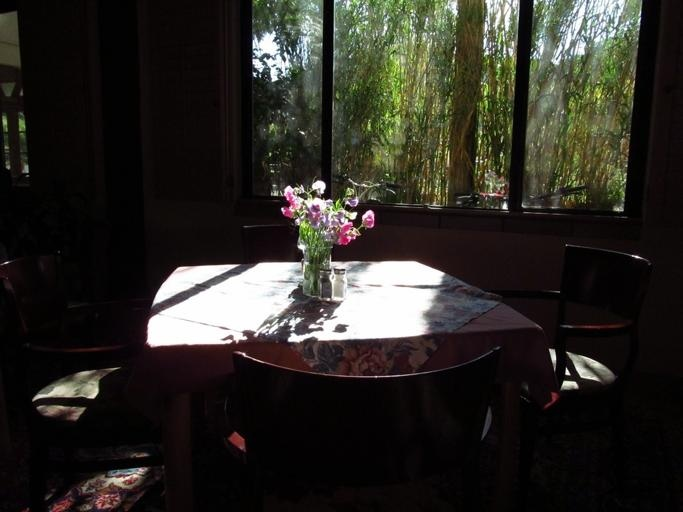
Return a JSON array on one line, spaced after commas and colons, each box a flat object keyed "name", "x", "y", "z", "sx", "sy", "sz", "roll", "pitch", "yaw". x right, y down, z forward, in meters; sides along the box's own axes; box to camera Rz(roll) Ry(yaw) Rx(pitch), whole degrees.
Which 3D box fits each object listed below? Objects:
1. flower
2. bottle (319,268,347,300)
[{"name": "flower", "x": -0.031, "y": -0.045, "z": 2.263, "sx": 0.318, "sy": 0.435, "sz": 0.351, "roll": 5, "pitch": 4, "yaw": -4}, {"name": "bottle", "x": -0.039, "y": 0.124, "z": 2.177, "sx": 0.134, "sy": 0.166, "sz": 0.086, "roll": -1, "pitch": 11, "yaw": -4}]
